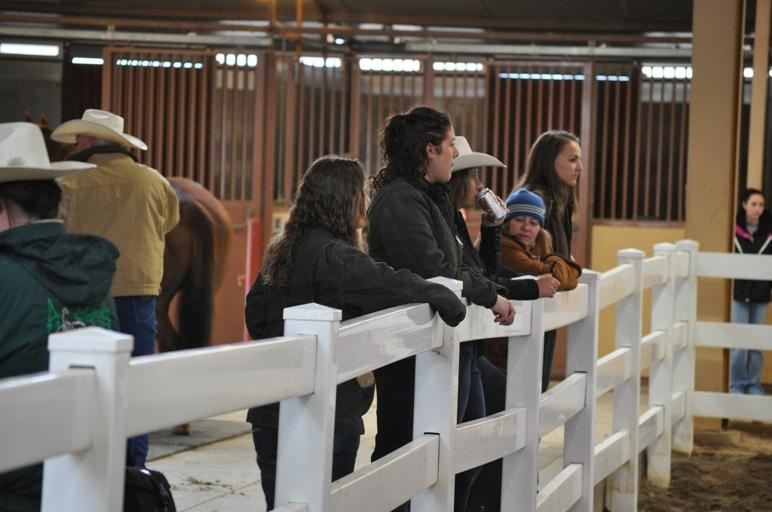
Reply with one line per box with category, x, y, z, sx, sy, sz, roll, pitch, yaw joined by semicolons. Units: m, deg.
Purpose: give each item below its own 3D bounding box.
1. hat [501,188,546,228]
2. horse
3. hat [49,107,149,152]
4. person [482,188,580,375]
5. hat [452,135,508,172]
hat;0.837;-0.274;6.917;0.251;0.233;0.244;21;-27;-33
horse;-1.768;-0.045;7.563;1.932;1.869;0.567;19;16;37
hat;-1.877;-0.829;7.449;0.584;0.292;0.545;6;-5;-4
person;0.923;0.413;6.847;0.476;1.572;0.468;-2;1;12
hat;0.501;-0.541;6.617;0.256;0.137;0.207;-9;22;49
